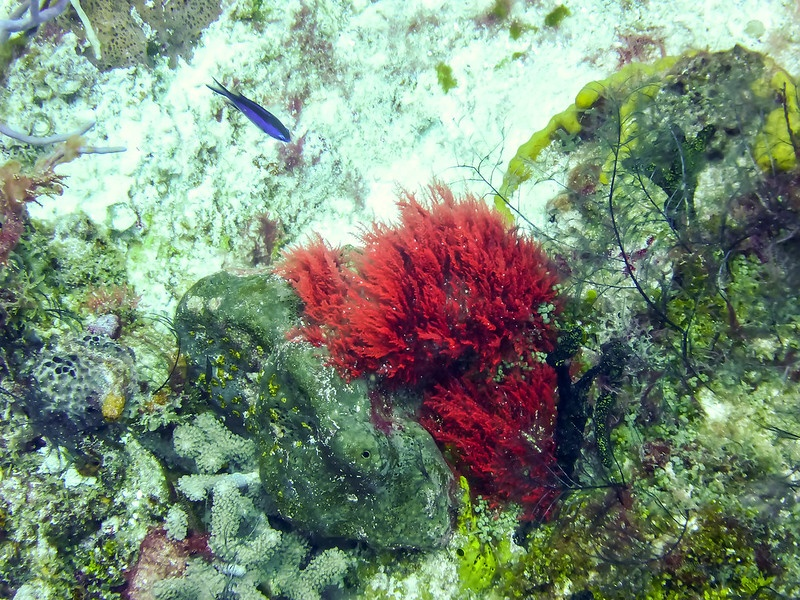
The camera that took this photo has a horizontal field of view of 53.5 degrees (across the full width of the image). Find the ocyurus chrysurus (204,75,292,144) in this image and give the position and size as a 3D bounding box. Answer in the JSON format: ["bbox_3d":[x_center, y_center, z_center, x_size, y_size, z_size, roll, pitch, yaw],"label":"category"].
[{"bbox_3d":[-1.511,-1.932,8.358,0.697,0.907,0.282,25,69,23],"label":"ocyurus chrysurus"}]
